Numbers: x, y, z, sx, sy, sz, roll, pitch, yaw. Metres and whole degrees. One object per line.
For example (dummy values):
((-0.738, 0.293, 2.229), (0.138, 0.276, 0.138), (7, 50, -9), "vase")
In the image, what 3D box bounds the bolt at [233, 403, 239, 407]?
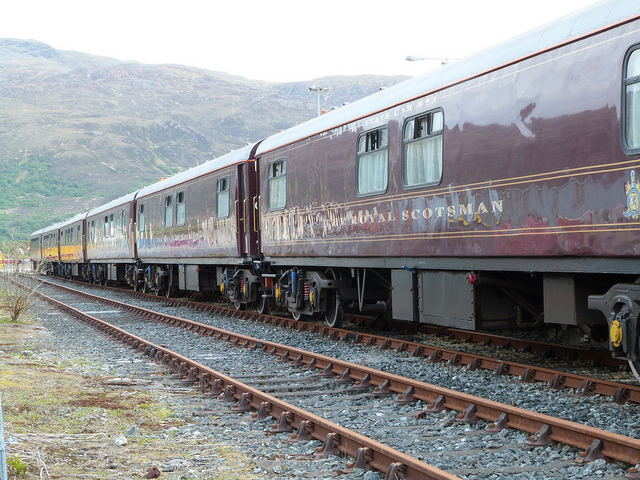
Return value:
((-1.056, 2.075, 6.341), (0.037, 0.009, 0.037), (0, 2, -2), "bolt")

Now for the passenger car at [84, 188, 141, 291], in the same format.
((-12.811, 0.297, 30.718), (2.813, 5.659, 16.380), (0, 0, -23), "passenger car")

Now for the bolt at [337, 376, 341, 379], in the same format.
((0.269, 2.034, 7.450), (0.059, 0.040, 0.059), (-2, -2, 20), "bolt")

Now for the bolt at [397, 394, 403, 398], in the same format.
((0.990, 1.955, 6.297), (0.059, 0.018, 0.057), (0, -1, -9), "bolt")

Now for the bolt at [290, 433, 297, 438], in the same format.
((-0.269, 1.980, 5.101), (0.036, 0.033, 0.078), (1, -5, -36), "bolt")

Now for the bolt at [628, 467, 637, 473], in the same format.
((2.464, 1.831, 4.008), (0.059, 0.029, 0.059), (1, 1, 29), "bolt")

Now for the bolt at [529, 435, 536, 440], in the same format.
((1.973, 1.862, 4.740), (0.046, 0.030, 0.022), (-3, -4, 14), "bolt")

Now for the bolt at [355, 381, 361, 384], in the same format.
((0.512, 1.996, 7.073), (0.066, 0.040, 0.114), (-1, -4, -13), "bolt")

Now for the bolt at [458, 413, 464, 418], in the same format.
((1.501, 1.892, 5.427), (0.062, 0.033, 0.054), (-3, -4, 21), "bolt")

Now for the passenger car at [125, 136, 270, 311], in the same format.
((-5.378, -0.208, 19.946), (2.506, 4.863, 13.175), (-1, -2, -39), "passenger car")

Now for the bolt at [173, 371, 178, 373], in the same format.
((-2.367, 2.176, 8.295), (0.057, 0.033, 0.057), (-3, -7, 39), "bolt")

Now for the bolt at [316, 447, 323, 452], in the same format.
((-0.003, 1.967, 4.731), (0.040, 0.025, 0.039), (1, 3, -6), "bolt")

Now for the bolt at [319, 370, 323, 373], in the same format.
((0.008, 2.063, 7.891), (0.047, 0.042, 0.045), (9, 11, 41), "bolt")

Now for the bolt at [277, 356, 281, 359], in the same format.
((-0.735, 2.106, 8.993), (0.032, 0.023, 0.031), (3, -4, -11), "bolt")

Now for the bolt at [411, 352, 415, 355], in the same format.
((1.597, 1.982, 8.801), (0.050, 0.016, 0.053), (-2, 5, -36), "bolt")

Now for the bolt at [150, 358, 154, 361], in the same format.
((-3.105, 2.227, 9.408), (0.042, 0.030, 0.180), (0, -4, -27), "bolt")

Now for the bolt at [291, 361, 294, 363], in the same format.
((-0.484, 2.099, 8.655), (0.049, 0.033, 0.048), (4, -5, -35), "bolt")

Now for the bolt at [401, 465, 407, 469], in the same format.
((0.661, 1.819, 4.045), (0.031, 0.006, 0.030), (1, 1, -5), "bolt")

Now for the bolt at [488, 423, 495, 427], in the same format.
((1.717, 1.878, 5.108), (0.061, 0.037, 0.023), (-3, -4, 11), "bolt")

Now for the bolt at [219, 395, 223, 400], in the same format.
((-1.314, 2.090, 6.704), (0.043, 0.038, 0.103), (-1, -4, -16), "bolt")

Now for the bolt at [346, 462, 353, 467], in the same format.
((0.248, 1.941, 4.348), (0.054, 0.037, 0.019), (-1, -4, -8), "bolt")
